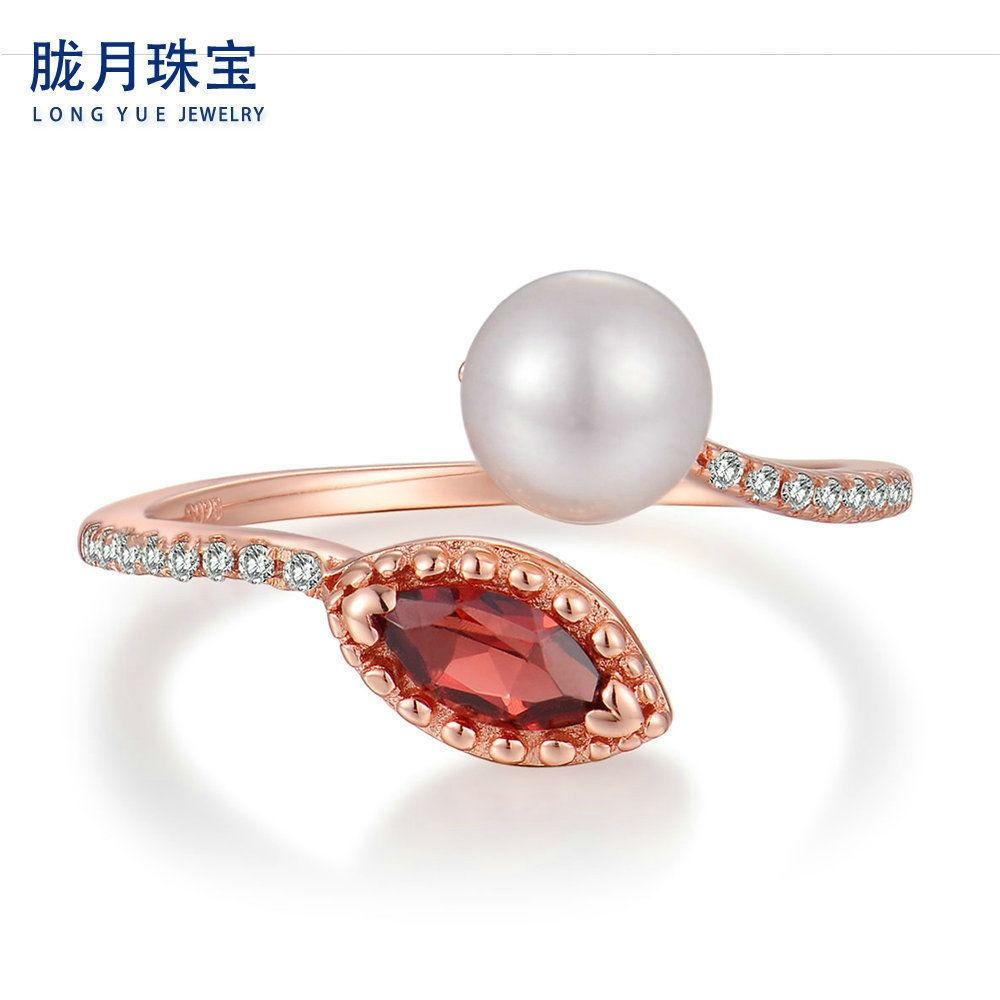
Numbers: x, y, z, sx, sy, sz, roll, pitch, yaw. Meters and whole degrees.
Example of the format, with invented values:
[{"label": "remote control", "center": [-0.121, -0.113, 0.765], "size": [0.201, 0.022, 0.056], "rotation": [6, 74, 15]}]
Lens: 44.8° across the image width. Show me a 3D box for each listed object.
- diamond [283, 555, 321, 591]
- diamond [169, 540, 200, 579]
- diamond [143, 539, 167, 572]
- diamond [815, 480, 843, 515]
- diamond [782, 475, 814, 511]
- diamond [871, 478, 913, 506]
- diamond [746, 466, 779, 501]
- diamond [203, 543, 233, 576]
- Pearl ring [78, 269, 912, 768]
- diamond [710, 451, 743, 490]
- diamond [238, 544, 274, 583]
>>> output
[{"label": "diamond", "center": [-0.328, 0.121, 1.989], "size": [0.050, 0.059, 0.073], "rotation": [11, -27, -27]}, {"label": "diamond", "center": [-0.549, 0.106, 2.146], "size": [0.075, 0.064, 0.030], "rotation": [3, 3, 16]}, {"label": "diamond", "center": [-0.623, 0.105, 2.197], "size": [0.038, 0.060, 0.050], "rotation": [-6, -24, -10]}, {"label": "diamond", "center": [0.703, -0.004, 2.590], "size": [0.067, 0.067, 0.037], "rotation": [4, 8, 6]}, {"label": "diamond", "center": [0.631, -0.015, 2.565], "size": [0.070, 0.065, 0.030], "rotation": [4, 11, 1]}, {"label": "diamond", "center": [0.874, -0.018, 2.714], "size": [0.133, 0.054, 0.140], "rotation": [0, 8, 2]}, {"label": "diamond", "center": [0.551, -0.036, 2.547], "size": [0.070, 0.040, 0.075], "rotation": [-2, 17, 1]}, {"label": "diamond", "center": [-0.478, 0.101, 2.087], "size": [0.063, 0.054, 0.025], "rotation": [2, 9, 23]}, {"label": "Pearl ring", "center": [-0.187, 0.016, 2.357], "size": [1.177, 0.407, 1.272], "rotation": [0, 10, 0]}, {"label": "diamond", "center": [0.472, -0.062, 2.530], "size": [0.073, 0.038, 0.078], "rotation": [1, 12, -1]}, {"label": "diamond", "center": [-0.406, 0.108, 2.019], "size": [0.073, 0.035, 0.071], "rotation": [1, 11, -16]}]
